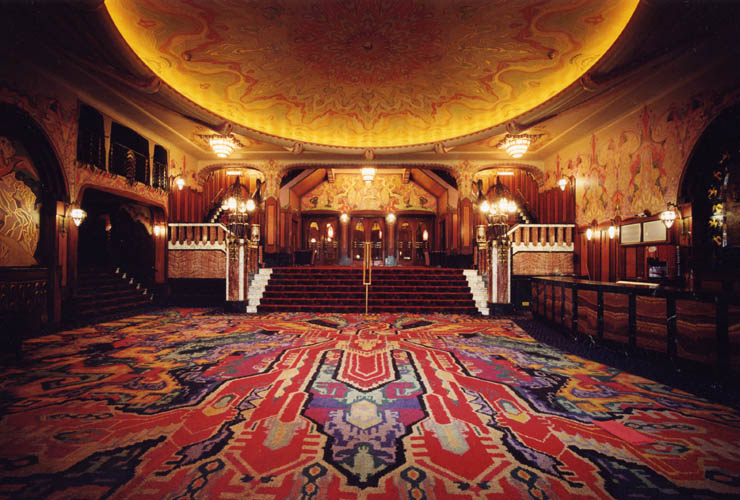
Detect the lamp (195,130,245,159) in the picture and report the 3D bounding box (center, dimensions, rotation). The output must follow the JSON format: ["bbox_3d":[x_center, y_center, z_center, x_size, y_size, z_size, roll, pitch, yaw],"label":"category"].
[{"bbox_3d":[-4.451,-3.217,13.246,0.856,0.374,0.854,0,-10,-5],"label":"lamp"}]

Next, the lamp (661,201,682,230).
[{"bbox_3d":[7.077,-0.834,10.464,0.391,0.632,0.451,-1,5,-16],"label":"lamp"}]

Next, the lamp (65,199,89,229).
[{"bbox_3d":[-7.321,-0.896,10.888,0.217,0.603,0.382,1,5,6],"label":"lamp"}]
